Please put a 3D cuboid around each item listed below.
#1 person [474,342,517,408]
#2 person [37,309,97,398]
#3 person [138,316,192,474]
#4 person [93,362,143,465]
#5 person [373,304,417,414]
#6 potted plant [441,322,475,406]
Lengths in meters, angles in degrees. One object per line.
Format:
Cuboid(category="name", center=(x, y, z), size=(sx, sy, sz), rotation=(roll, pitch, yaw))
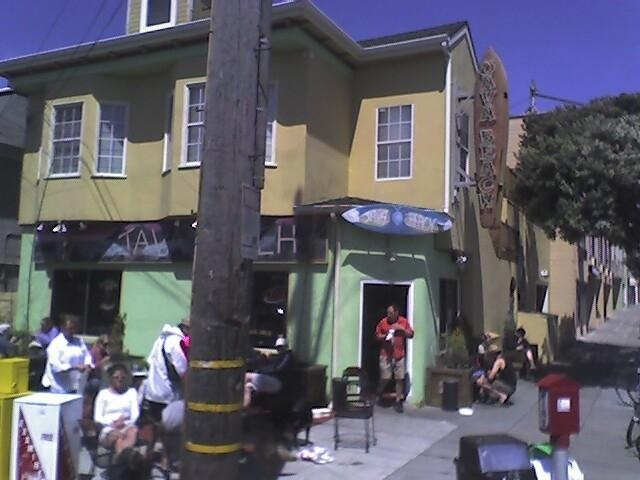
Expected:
Cuboid(category="person", center=(4.096, 3.073, 16.426), size=(0.808, 1.374, 0.892), rotation=(-3, 1, -8))
Cuboid(category="person", center=(-4.359, 2.400, 12.425), size=(0.781, 2.064, 0.782), rotation=(10, 11, 43))
Cuboid(category="person", center=(-2.588, 2.596, 11.820), size=(0.716, 2.325, 1.507), rotation=(3, -7, -13))
Cuboid(category="person", center=(-3.274, 2.790, 11.479), size=(0.735, 1.510, 0.816), rotation=(3, -7, -15))
Cuboid(category="person", center=(1.676, 2.619, 15.792), size=(0.817, 2.298, 1.141), rotation=(0, -7, 8))
Cuboid(category="potted plant", center=(3.268, 2.883, 16.508), size=(0.720, 2.041, 0.800), rotation=(0, -11, 6))
